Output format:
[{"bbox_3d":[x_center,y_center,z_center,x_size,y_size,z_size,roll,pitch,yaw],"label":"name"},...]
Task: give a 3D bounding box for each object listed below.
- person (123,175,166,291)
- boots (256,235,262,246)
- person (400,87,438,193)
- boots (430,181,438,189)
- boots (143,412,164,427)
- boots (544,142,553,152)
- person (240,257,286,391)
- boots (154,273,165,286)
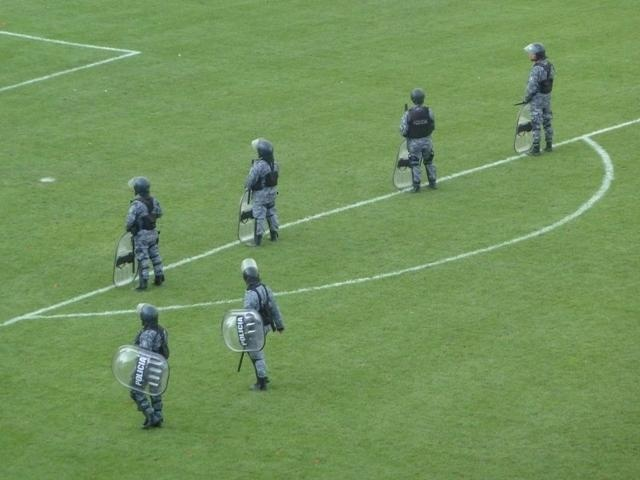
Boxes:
[{"bbox_3d":[-4.095,-0.177,44.762,0.801,2.557,0.837,-7,22,4],"label":"person"},{"bbox_3d":[-1.506,-0.001,46.365,0.210,0.272,0.241,1,0,7],"label":"boots"},{"bbox_3d":[2.429,-2.472,47.913,0.818,2.676,0.721,-7,22,3],"label":"person"},{"bbox_3d":[2.795,-1.382,48.354,0.206,0.194,0.108,13,30,33],"label":"boots"},{"bbox_3d":[-3.568,3.818,40.979,0.455,0.410,0.241,2,8,12],"label":"boots"},{"bbox_3d":[5.850,-2.399,49.671,0.225,0.284,0.205,-14,20,-36],"label":"boots"},{"bbox_3d":[-1.243,1.801,41.670,0.843,2.720,1.074,-9,22,-2],"label":"person"},{"bbox_3d":[-3.772,0.930,45.011,0.190,0.255,0.265,-2,3,-45],"label":"boots"}]
